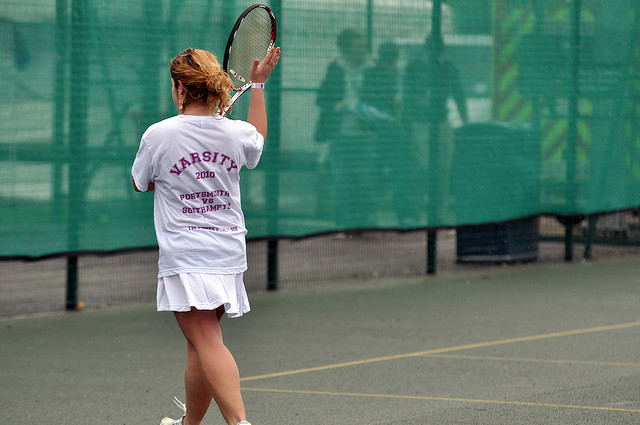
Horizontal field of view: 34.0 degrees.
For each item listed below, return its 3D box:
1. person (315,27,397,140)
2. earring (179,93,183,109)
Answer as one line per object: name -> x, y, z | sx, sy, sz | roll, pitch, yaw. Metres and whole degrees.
person -> 0.252, -1.292, 10.572 | 0.705, 1.065, 0.227 | -8, -7, 0
earring -> -1.016, -0.809, 7.732 | 0.021, 0.097, 0.062 | -6, -7, -18
